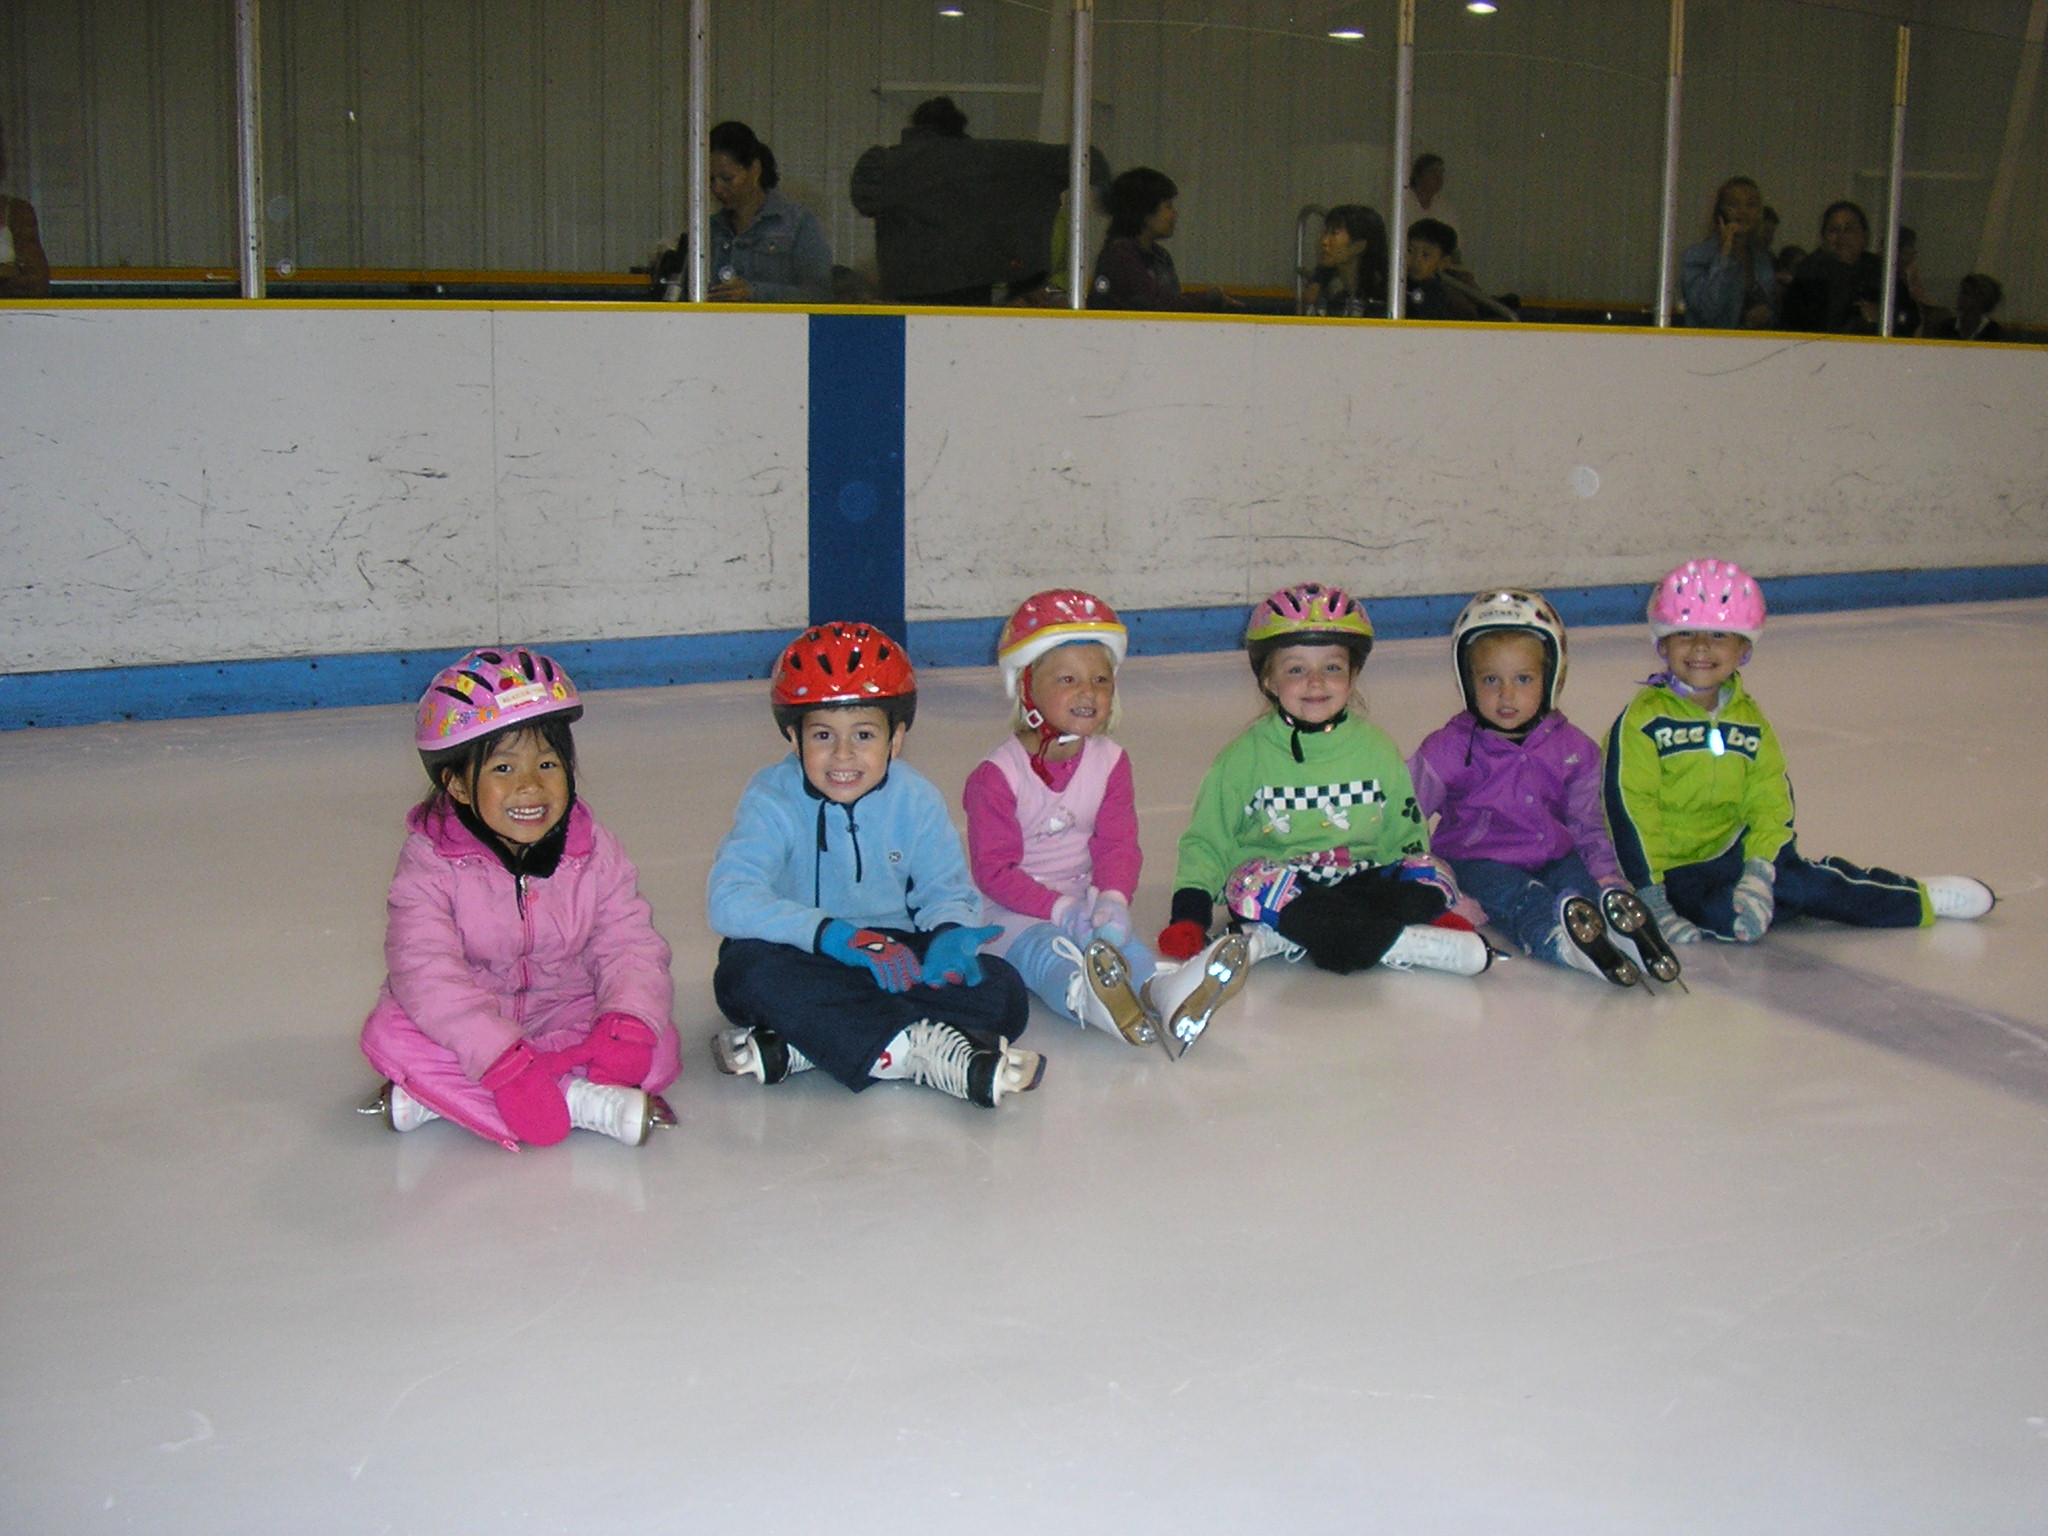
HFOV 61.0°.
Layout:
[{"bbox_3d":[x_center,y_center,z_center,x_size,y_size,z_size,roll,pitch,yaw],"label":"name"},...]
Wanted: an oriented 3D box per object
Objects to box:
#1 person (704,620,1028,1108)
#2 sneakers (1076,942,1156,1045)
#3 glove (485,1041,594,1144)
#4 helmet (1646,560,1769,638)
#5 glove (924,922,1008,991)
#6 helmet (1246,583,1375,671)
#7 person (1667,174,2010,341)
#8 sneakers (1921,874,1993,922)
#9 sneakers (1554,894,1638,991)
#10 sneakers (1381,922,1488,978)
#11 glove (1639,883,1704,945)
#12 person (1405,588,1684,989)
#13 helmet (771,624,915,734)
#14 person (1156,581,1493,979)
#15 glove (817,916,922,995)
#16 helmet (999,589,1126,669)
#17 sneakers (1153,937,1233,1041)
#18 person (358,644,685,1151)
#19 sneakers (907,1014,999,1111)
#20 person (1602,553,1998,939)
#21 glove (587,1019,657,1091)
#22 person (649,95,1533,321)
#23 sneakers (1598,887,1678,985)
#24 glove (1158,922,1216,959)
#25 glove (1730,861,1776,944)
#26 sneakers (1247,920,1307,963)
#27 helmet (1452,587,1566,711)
[{"bbox_3d":[-0.285,0.153,3.259,0.570,0.823,0.826,-4,8,-24],"label":"person"},{"bbox_3d":[0.168,0.437,3.355,0.106,0.222,0.071,-31,-1,31],"label":"sneakers"},{"bbox_3d":[-0.821,0.545,2.934,0.158,0.157,0.062,-41,3,-8],"label":"glove"},{"bbox_3d":[1.614,-0.407,4.116,0.191,0.216,0.229,1,16,0],"label":"helmet"},{"bbox_3d":[-0.130,0.342,3.248,0.105,0.129,0.056,1,-14,-17],"label":"glove"},{"bbox_3d":[0.635,-0.358,3.940,0.179,0.248,0.187,2,21,4],"label":"helmet"},{"bbox_3d":[4.282,-2.584,9.055,1.721,0.795,0.823,2,34,10],"label":"person"},{"bbox_3d":[2.233,0.302,4.139,0.223,0.084,0.096,0,9,9],"label":"sneakers"},{"bbox_3d":[1.198,0.359,3.723,0.121,0.237,0.094,-34,9,4],"label":"sneakers"},{"bbox_3d":[0.892,0.385,3.785,0.203,0.075,0.108,0,11,34],"label":"sneakers"},{"bbox_3d":[1.493,0.346,4.029,0.051,0.145,0.116,-31,-6,35],"label":"glove"},{"bbox_3d":[1.131,0.006,3.920,0.550,0.789,0.788,-4,8,-10],"label":"person"},{"bbox_3d":[-0.349,-0.200,3.349,0.186,0.256,0.211,1,10,-2],"label":"helmet"},{"bbox_3d":[0.434,-0.035,3.988,0.861,0.990,0.805,-2,8,-10],"label":"person"},{"bbox_3d":[-0.276,0.325,3.142,0.171,0.061,0.110,16,14,38],"label":"glove"},{"bbox_3d":[0.074,-0.318,3.710,0.170,0.162,0.219,-3,-19,-30],"label":"helmet"},{"bbox_3d":[0.321,0.426,3.340,0.058,0.171,0.118,41,-17,-29],"label":"sneakers"},{"bbox_3d":[-0.876,0.221,3.056,0.551,0.782,0.623,-4,20,-33],"label":"person"},{"bbox_3d":[-0.129,0.523,3.144,0.237,0.083,0.094,18,11,43],"label":"sneakers"},{"bbox_3d":[1.633,-0.034,3.896,0.660,0.852,0.916,-8,9,-24],"label":"person"},{"bbox_3d":[-0.688,0.486,3.000,0.095,0.128,0.125,4,40,-11],"label":"glove"},{"bbox_3d":[0.077,-2.387,7.486,3.350,0.920,0.346,-8,16,-23],"label":"person"},{"bbox_3d":[1.335,0.356,3.707,0.220,0.214,0.104,-7,15,-19],"label":"sneakers"},{"bbox_3d":[0.322,0.348,3.587,0.086,0.037,0.067,8,40,22],"label":"glove"},{"bbox_3d":[1.658,0.302,3.954,0.114,0.156,0.065,12,-12,6],"label":"glove"},{"bbox_3d":[0.546,0.402,3.811,0.111,0.053,0.120,-1,-25,23],"label":"sneakers"},{"bbox_3d":[1.144,-0.297,4.126,0.224,0.289,0.281,1,34,13],"label":"helmet"}]
